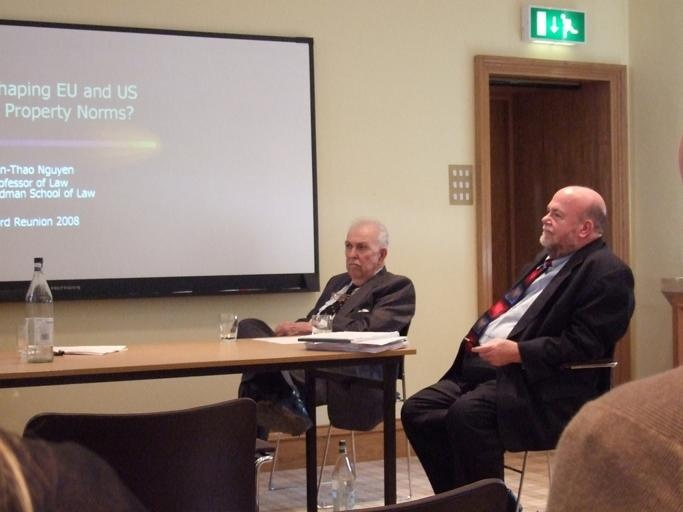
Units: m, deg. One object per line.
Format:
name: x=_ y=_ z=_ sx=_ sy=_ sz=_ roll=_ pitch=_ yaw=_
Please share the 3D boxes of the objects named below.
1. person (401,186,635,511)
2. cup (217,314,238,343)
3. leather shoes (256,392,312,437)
person: x=0.819 y=0.349 z=2.801 sx=1.042 sy=1.312 sz=0.689 roll=-4 pitch=4 yaw=-27
cup: x=-0.507 y=0.337 z=2.741 sx=0.119 sy=0.171 sz=0.098 roll=1 pitch=-7 yaw=-9
leather shoes: x=-0.254 y=0.705 z=2.736 sx=0.294 sy=0.148 sz=0.245 roll=1 pitch=-11 yaw=22
